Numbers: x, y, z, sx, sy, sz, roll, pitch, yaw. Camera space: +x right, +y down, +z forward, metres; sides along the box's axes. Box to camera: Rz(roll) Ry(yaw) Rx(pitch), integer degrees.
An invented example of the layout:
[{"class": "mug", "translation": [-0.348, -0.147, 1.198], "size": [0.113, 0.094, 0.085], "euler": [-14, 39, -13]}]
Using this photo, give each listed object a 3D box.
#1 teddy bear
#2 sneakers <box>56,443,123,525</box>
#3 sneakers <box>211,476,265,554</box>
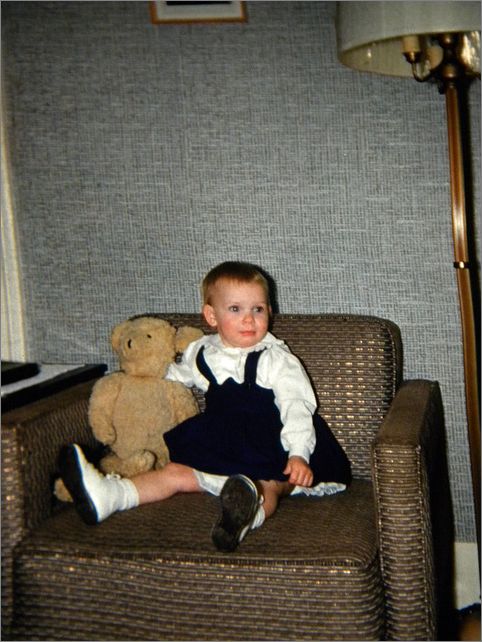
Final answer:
[{"class": "teddy bear", "translation": [-0.259, 0.179, 1.567], "size": [0.341, 0.396, 0.283], "euler": [1, 0, 3]}, {"class": "sneakers", "translation": [-0.311, 0.295, 1.331], "size": [0.080, 0.174, 0.067], "euler": [-10, -26, -48]}, {"class": "sneakers", "translation": [-0.009, 0.327, 1.164], "size": [0.074, 0.121, 0.055], "euler": [15, -12, 33]}]
